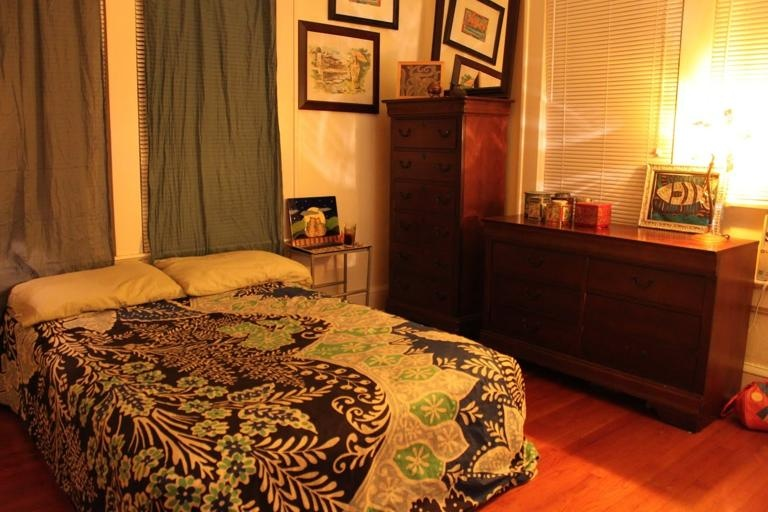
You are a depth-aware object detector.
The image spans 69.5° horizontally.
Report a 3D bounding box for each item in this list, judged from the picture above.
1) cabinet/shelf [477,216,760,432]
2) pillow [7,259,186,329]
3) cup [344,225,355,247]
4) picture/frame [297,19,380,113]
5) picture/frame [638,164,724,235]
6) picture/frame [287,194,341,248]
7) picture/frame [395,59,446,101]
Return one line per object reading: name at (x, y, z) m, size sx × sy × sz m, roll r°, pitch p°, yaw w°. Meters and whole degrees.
cabinet/shelf at (1.705, 0.401, 4.153) m, size 0.789 × 1.107 × 1.823 m, roll -2°, pitch 9°, yaw -36°
pillow at (-1.804, 0.220, 3.511) m, size 0.663 × 0.099 × 0.486 m, roll -8°, pitch 17°, yaw -34°
cup at (-0.295, -0.190, 4.756) m, size 0.088 × 0.161 × 0.202 m, roll -1°, pitch 17°, yaw -5°
picture/frame at (-0.418, -1.652, 4.712) m, size 0.943 × 0.727 × 0.040 m, roll -6°, pitch 15°, yaw -31°
picture/frame at (2.074, -0.387, 3.810) m, size 0.488 × 0.423 × 0.053 m, roll 16°, pitch 8°, yaw 43°
picture/frame at (-0.570, -0.307, 4.724) m, size 0.540 × 0.427 × 0.052 m, roll -3°, pitch 4°, yaw 33°
picture/frame at (0.318, -1.501, 4.706) m, size 0.525 × 0.391 × 0.041 m, roll 6°, pitch 2°, yaw 21°
